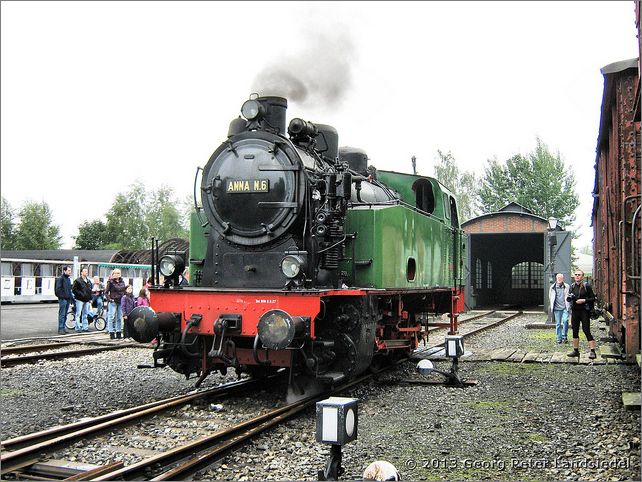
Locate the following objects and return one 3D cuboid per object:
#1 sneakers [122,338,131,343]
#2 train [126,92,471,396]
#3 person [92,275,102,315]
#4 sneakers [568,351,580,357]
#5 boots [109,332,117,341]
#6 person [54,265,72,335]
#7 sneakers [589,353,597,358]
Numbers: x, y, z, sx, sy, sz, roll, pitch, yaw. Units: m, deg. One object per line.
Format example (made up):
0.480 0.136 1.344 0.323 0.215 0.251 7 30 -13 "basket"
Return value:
-5.029 2.596 13.894 0.183 0.065 0.142 0 -4 29 "sneakers"
0.213 0.410 9.938 2.917 3.819 6.912 -1 -5 23 "train"
-6.819 1.712 16.324 0.322 1.158 1.537 2 -6 -23 "person"
5.486 2.441 11.570 0.230 0.131 0.353 -3 -6 26 "sneakers"
-5.488 2.517 14.093 0.143 0.188 0.310 2 -6 -24 "boots"
-7.065 1.659 14.702 0.436 1.907 1.428 2 -6 -26 "person"
5.773 2.428 11.312 0.077 0.116 0.261 -6 -15 22 "sneakers"
